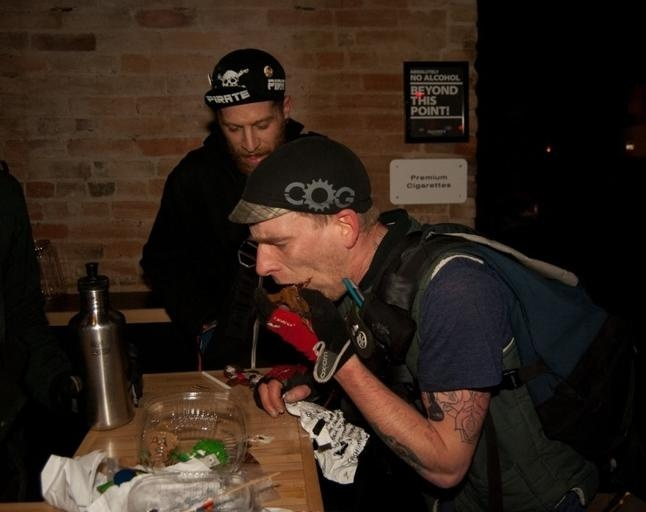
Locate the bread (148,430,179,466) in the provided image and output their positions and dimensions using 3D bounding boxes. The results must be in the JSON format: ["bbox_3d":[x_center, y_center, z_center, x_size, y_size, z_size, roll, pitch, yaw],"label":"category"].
[{"bbox_3d":[-0.525,0.621,2.044,0.071,0.027,0.095,4,31,-1],"label":"bread"}]

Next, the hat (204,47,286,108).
[{"bbox_3d":[-0.378,-0.889,3.106,0.275,0.202,0.363,15,24,43],"label":"hat"}]

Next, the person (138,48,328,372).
[{"bbox_3d":[-0.359,-0.237,3.460,1.036,1.577,0.509,-3,2,42],"label":"person"}]

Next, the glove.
[{"bbox_3d":[-0.013,0.280,2.207,0.348,0.138,0.263,47,-5,21],"label":"glove"}]

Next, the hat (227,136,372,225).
[{"bbox_3d":[-0.066,-0.253,2.131,0.399,0.217,0.292,-4,18,-8],"label":"hat"}]
